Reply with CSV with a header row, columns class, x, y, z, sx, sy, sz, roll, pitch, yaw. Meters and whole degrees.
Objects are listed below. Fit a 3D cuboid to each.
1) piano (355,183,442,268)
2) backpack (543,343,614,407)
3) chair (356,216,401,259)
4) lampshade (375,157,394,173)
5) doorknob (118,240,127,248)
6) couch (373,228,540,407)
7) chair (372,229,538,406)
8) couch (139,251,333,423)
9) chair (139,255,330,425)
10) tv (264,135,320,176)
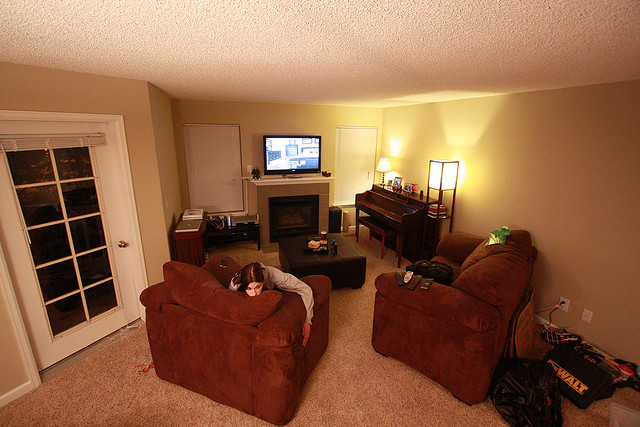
class,x,y,z,sx,sy,sz,roll,pitch,yaw
piano,1.198,0.131,7.103,0.706,0.991,1.471,-7,19,-27
backpack,2.644,1.775,4.458,0.154,0.673,0.684,46,-10,-16
chair,0.940,0.358,7.198,0.344,0.480,0.932,-6,18,-21
lampshade,1.160,-0.922,7.769,0.284,0.446,0.293,-3,20,-3
doorknob,-2.321,0.349,4.935,0.066,0.069,0.069,9,4,-28
couch,1.727,0.900,5.215,1.275,1.476,2.259,18,27,33
chair,1.717,0.912,5.223,1.415,1.485,2.279,16,27,29
couch,-0.786,1.098,4.768,2.103,1.600,1.533,8,17,21
chair,-0.908,1.244,4.330,1.691,1.461,0.727,3,12,8
tv,-0.480,-0.995,7.361,1.061,0.719,0.137,1,7,15
